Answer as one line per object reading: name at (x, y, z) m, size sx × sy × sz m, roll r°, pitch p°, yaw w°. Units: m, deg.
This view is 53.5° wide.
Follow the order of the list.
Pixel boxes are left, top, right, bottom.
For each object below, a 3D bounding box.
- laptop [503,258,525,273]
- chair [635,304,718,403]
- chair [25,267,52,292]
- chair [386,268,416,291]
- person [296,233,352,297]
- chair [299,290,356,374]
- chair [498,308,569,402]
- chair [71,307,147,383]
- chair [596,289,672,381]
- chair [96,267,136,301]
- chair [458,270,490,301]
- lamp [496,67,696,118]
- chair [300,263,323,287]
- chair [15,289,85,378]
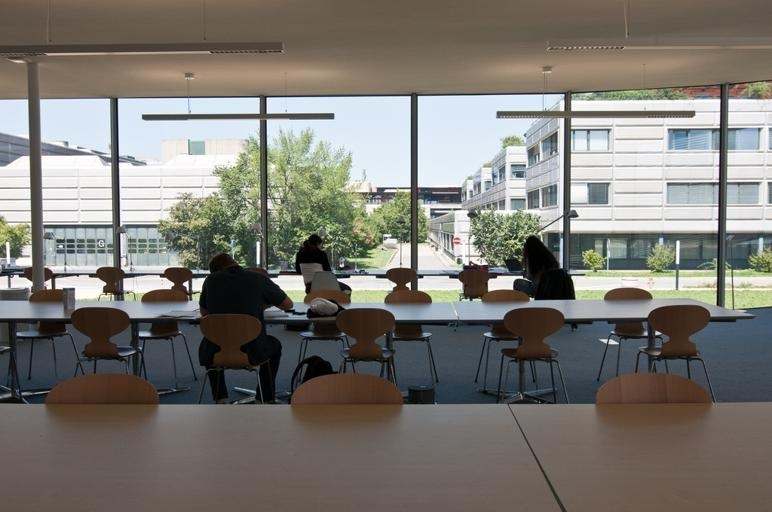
laptop at (1.830, 0.130, 10.939) m, size 0.257 × 0.188 × 0.176 m, roll -3°, pitch -8°, yaw 21°
chair at (2.709, 0.904, 7.332) m, size 0.661 × 0.953 × 0.663 m, roll -2°, pitch 4°, yaw -4°
chair at (-4.565, 0.293, 10.066) m, size 0.309 × 0.339 × 0.274 m, roll 2°, pitch -15°, yaw -20°
chair at (0.191, 0.289, 10.346) m, size 0.368 × 0.419 × 0.320 m, roll 0°, pitch 5°, yaw 1°
person at (-0.820, 0.253, 10.374) m, size 0.561 × 1.084 × 0.675 m, roll 1°, pitch 8°, yaw 29°
chair at (-0.572, 0.843, 7.729) m, size 0.511 × 0.712 × 0.512 m, roll 4°, pitch -9°, yaw 6°
chair at (1.337, 0.931, 7.291) m, size 0.753 × 0.912 × 0.724 m, roll 1°, pitch 2°, yaw -23°
chair at (-2.655, 0.780, 7.243) m, size 0.574 × 0.633 × 0.414 m, roll -1°, pitch 2°, yaw -16°
chair at (2.599, 0.799, 7.956) m, size 0.557 × 0.783 × 0.499 m, roll -5°, pitch 3°, yaw 14°
chair at (-3.943, 0.396, 11.077) m, size 0.430 × 0.503 × 1.040 m, roll -2°, pitch 2°, yaw -17°
chair at (1.170, 0.380, 10.112) m, size 0.364 × 0.553 × 0.405 m, roll 0°, pitch 6°, yaw 3°
lamp at (2.708, -2.097, 10.529) m, size 2.572 × 0.581 × 1.715 m, roll -1°, pitch 2°, yaw 0°
chair at (-0.986, 0.244, 9.959) m, size 0.276 × 0.321 × 0.297 m, roll 4°, pitch 7°, yaw 16°
chair at (-3.766, 0.947, 8.619) m, size 0.575 × 0.853 × 0.507 m, roll 4°, pitch -1°, yaw -9°
